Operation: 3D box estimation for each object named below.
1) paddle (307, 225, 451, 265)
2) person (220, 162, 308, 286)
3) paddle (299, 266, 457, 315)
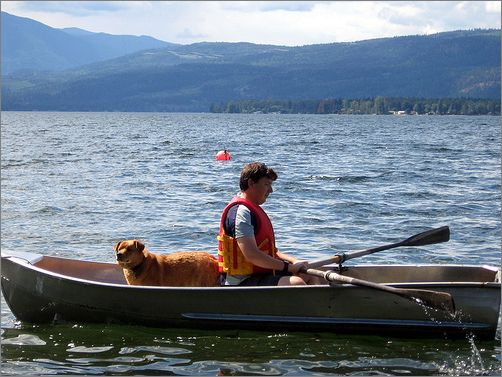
[{"bbox_3d":[1.619,0.895,12.702,2.428,0.282,0.287,-13,-8,-9],"label":"paddle"},{"bbox_3d":[0.068,0.475,12.017,1.034,1.638,0.409,-3,7,-3],"label":"person"},{"bbox_3d":[1.691,1.360,12.076,2.185,0.172,0.235,10,22,15],"label":"paddle"}]
